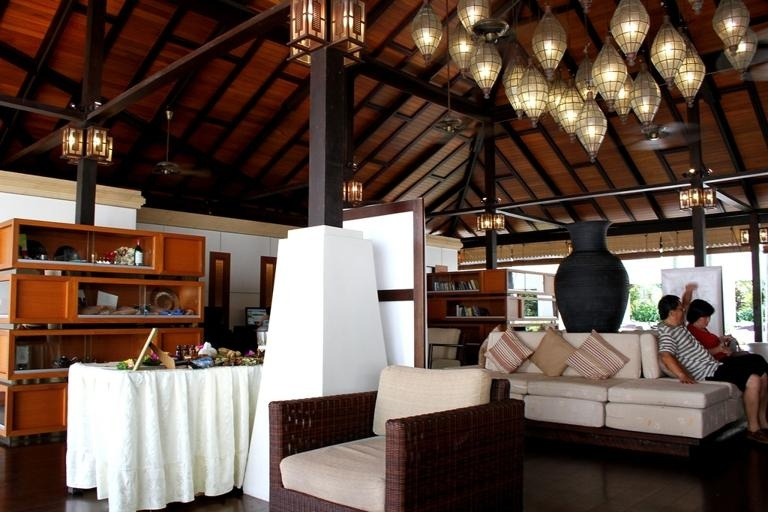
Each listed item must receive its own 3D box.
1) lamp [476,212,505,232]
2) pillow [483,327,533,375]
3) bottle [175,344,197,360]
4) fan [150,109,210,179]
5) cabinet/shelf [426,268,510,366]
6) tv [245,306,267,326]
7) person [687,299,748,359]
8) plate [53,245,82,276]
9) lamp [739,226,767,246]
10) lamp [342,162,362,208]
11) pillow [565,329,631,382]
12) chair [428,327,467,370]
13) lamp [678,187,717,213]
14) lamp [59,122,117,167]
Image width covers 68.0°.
[{"bbox_3d":[2.430,-0.752,12.930,0.490,0.294,0.466,-1,0,8],"label":"lamp"},{"bbox_3d":[1.502,1.172,6.995,0.522,0.495,0.162,-46,-39,10],"label":"pillow"},{"bbox_3d":[-1.877,0.914,5.381,0.202,0.124,0.171,0,-7,-11],"label":"bottle"},{"bbox_3d":[-4.048,-2.061,11.138,1.368,1.360,1.251,3,0,-4],"label":"fan"},{"bbox_3d":[1.560,1.140,10.336,1.863,1.651,0.568,-7,-13,40],"label":"cabinet/shelf"},{"bbox_3d":[-2.447,1.146,10.726,0.478,0.406,0.376,5,-15,-34],"label":"tv"},{"bbox_3d":[3.792,0.881,6.552,0.670,0.703,0.514,-3,5,-5],"label":"person"},{"bbox_3d":[-3.907,0.020,7.160,0.405,0.360,0.268,-2,0,-18],"label":"plate"},{"bbox_3d":[8.996,-0.481,13.775,0.174,0.368,0.483,11,-12,-39],"label":"lamp"},{"bbox_3d":[-0.567,-1.273,9.997,0.281,0.876,1.017,-1,-7,-4],"label":"lamp"},{"bbox_3d":[2.328,1.118,6.287,0.498,0.509,0.156,-41,-41,3],"label":"pillow"},{"bbox_3d":[1.048,1.598,9.757,0.724,0.854,0.666,-5,-17,22],"label":"chair"},{"bbox_3d":[5.649,-1.063,10.204,0.699,0.383,0.317,3,-8,-32],"label":"lamp"},{"bbox_3d":[-4.033,-1.520,7.688,0.591,0.345,0.606,7,7,35],"label":"lamp"}]
